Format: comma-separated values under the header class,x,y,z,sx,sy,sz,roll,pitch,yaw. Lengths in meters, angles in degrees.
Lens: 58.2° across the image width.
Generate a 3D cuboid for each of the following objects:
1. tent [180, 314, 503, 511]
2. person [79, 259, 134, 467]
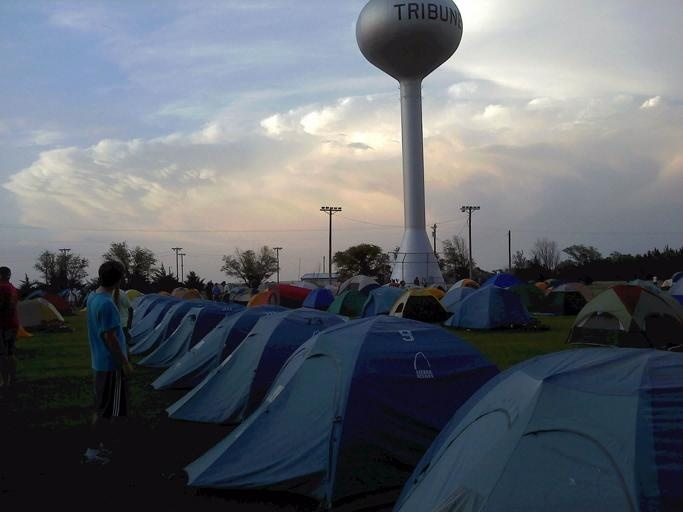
class,x,y,z,sx,sy,sz,roll,pitch,yaw
tent,0.101,1.880,7.385,2.707,1.147,2.096,-3,4,-31
person,-2.946,1.190,7.726,0.484,2.264,0.540,0,0,-24
